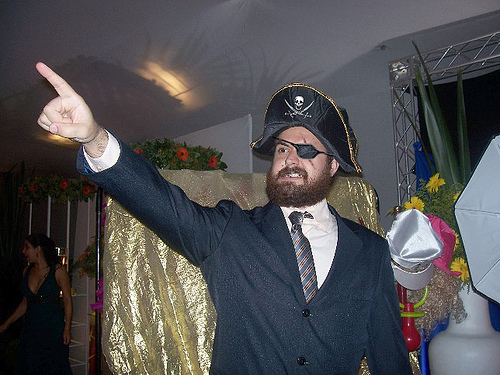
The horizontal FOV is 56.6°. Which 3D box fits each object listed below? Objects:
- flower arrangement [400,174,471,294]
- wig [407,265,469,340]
[{"bbox_3d":[1.081,0.270,2.695,0.293,0.773,0.319,1,6,2],"label":"flower arrangement"},{"bbox_3d":[1.077,0.641,2.631,0.274,0.379,0.161,4,-5,32],"label":"wig"}]
